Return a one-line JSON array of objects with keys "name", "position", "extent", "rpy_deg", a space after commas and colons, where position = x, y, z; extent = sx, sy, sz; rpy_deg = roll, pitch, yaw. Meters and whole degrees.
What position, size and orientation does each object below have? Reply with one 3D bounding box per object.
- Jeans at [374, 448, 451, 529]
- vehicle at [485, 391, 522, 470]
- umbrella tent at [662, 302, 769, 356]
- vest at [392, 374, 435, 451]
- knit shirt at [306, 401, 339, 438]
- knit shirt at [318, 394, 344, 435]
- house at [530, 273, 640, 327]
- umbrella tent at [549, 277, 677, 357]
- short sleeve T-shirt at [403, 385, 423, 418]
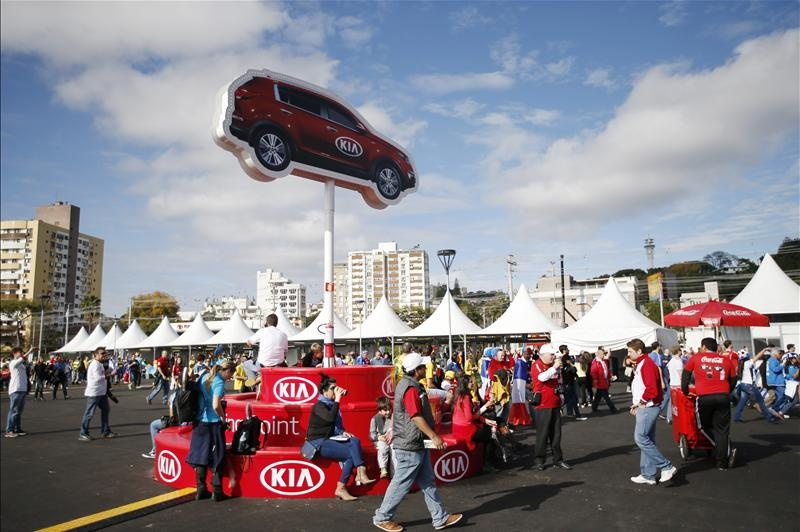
[{"name": "Jeans", "position": [0.198, 3.924, 10.687], "extent": [1.309, 1.399, 0.308], "rpy_deg": [-1, -6, -1]}, {"name": "vehicle", "position": [2.517, 4.054, 14.700], "extent": [0.906, 1.158, 1.864], "rpy_deg": [-15, 2, 11]}, {"name": "umbrella tent", "position": [12.961, 2.601, 24.303], "extent": [3.027, 1.309, 2.924], "rpy_deg": [-2, -13, 8]}, {"name": "vest", "position": [0.399, 2.432, 10.769], "extent": [0.708, 0.712, 0.486], "rpy_deg": [-21, 8, -36]}, {"name": "knit shirt", "position": [-1.495, 3.045, 11.952], "extent": [0.664, 0.759, 0.645], "rpy_deg": [-3, -1, -23]}, {"name": "knit shirt", "position": [-1.380, 2.963, 12.027], "extent": [0.552, 0.747, 0.243], "rpy_deg": [8, -12, -35]}, {"name": "house", "position": [18.294, 3.524, 60.843], "extent": [6.764, 4.223, 4.819], "rpy_deg": [-1, -9, 8]}, {"name": "umbrella tent", "position": [10.134, 3.003, 28.634], "extent": [5.195, 3.536, 5.300], "rpy_deg": [-3, -10, 22]}, {"name": "short sleeve T-shirt", "position": [0.226, 2.427, 10.621], "extent": [0.297, 0.473, 0.468], "rpy_deg": [-7, 8, 34]}]
